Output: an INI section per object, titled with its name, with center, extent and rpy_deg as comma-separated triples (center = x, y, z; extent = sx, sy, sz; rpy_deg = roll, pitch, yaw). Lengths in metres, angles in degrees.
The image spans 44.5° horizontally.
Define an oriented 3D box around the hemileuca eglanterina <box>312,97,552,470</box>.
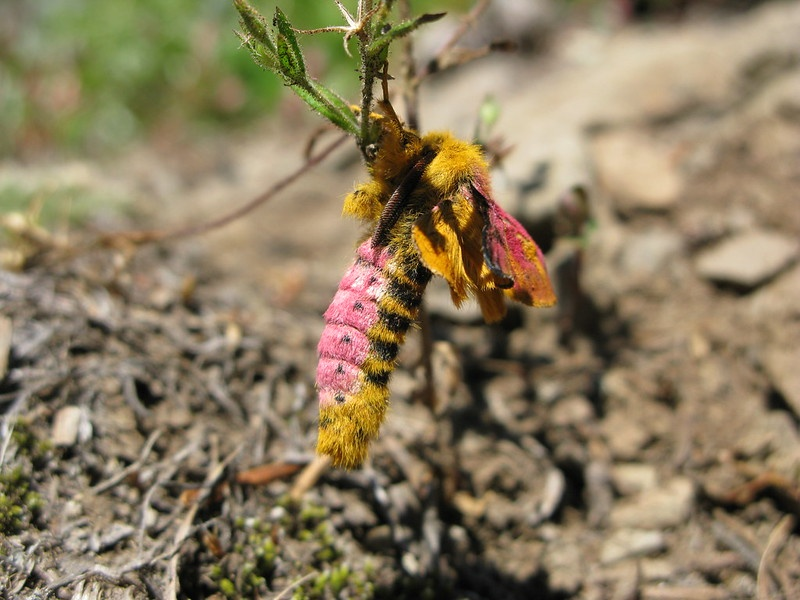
[hemileuca eglanterina]
center = 0.068, -0.079, 4.478
extent = 1.235, 1.600, 0.797
rpy_deg = -18, 28, -7
